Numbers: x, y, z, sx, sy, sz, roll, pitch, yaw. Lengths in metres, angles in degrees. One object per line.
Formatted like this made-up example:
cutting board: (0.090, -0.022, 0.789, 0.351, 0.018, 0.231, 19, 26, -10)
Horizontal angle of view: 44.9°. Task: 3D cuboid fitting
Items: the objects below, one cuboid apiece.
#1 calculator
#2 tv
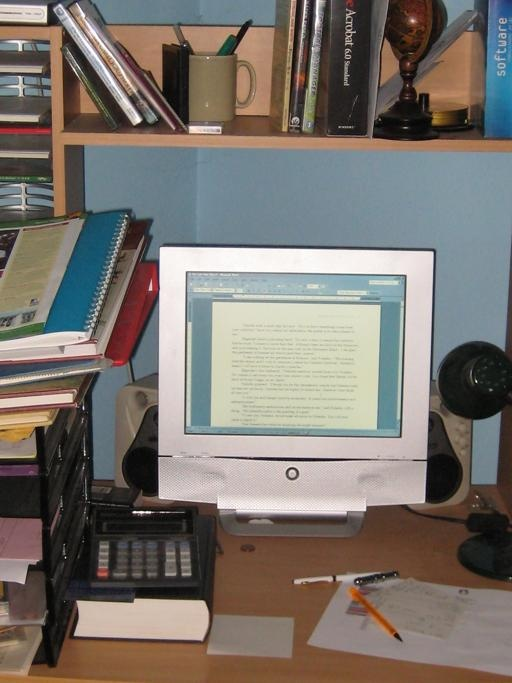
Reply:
calculator: (-0.142, 0.262, 0.782, 0.134, 0.044, 0.123, 0, 14, 3)
tv: (0.054, 0.064, 0.917, 0.463, 0.458, 0.189, 1, 12, 0)
